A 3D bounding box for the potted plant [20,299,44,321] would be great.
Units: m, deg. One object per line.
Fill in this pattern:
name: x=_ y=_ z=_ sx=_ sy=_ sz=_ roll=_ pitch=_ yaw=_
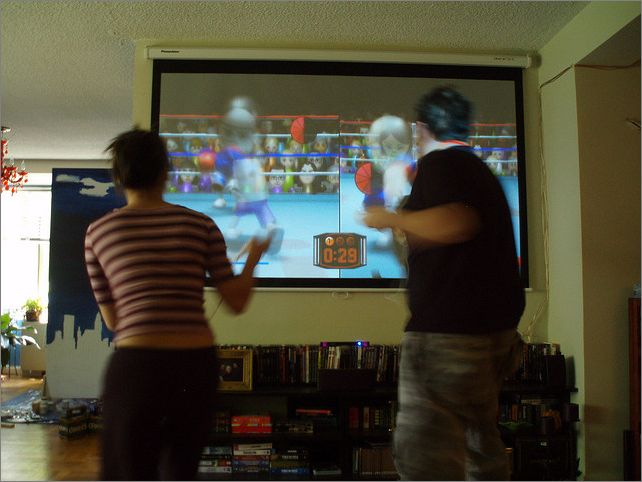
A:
potted plant: x=-3.767 y=0.893 z=8.317 sx=0.288 sy=0.336 sz=0.257 roll=3 pitch=-13 yaw=-13
